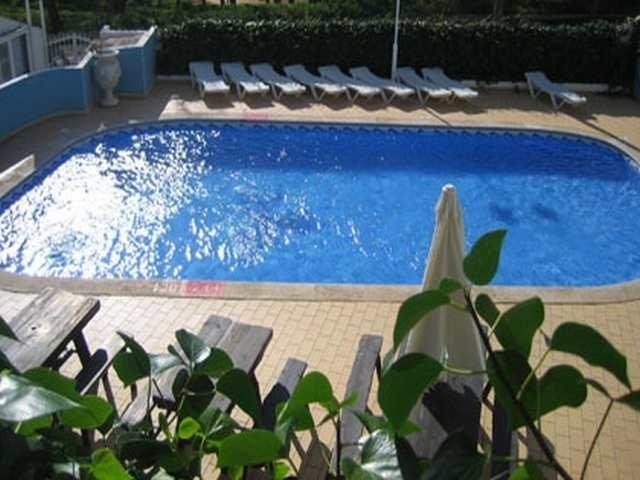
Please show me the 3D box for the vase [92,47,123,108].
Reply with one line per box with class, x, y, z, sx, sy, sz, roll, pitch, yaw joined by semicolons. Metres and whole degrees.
vase;-6.443;-4.936;13.314;0.739;1.645;0.923;-6;23;-26
